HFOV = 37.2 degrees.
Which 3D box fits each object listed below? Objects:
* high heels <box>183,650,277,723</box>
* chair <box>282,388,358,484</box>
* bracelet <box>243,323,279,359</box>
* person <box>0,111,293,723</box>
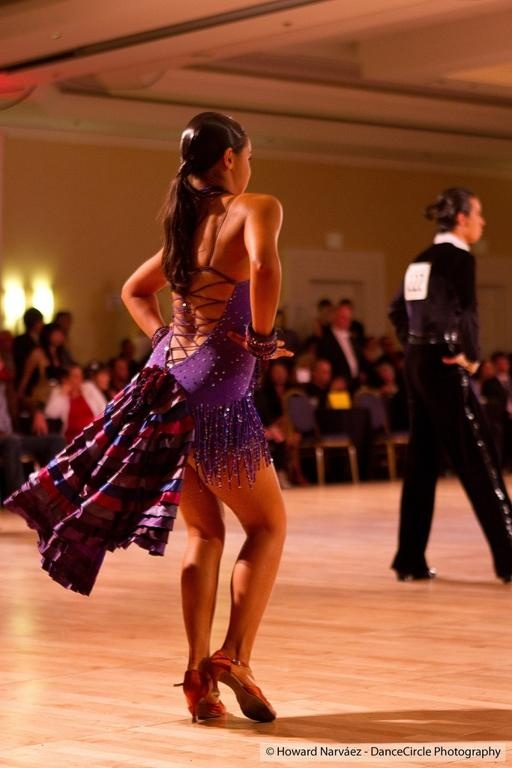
[{"bbox_3d":[-0.046,0.567,1.415,0.163,0.167,0.100,4,6,21],"label":"high heels"},{"bbox_3d":[0.731,0.614,8.601,0.942,1.092,0.471,1,6,-5],"label":"chair"},{"bbox_3d":[0.013,-0.077,1.292,0.068,0.053,0.058,-1,21,3],"label":"bracelet"},{"bbox_3d":[-0.164,0.074,1.474,0.546,1.226,0.438,6,7,31],"label":"person"}]
